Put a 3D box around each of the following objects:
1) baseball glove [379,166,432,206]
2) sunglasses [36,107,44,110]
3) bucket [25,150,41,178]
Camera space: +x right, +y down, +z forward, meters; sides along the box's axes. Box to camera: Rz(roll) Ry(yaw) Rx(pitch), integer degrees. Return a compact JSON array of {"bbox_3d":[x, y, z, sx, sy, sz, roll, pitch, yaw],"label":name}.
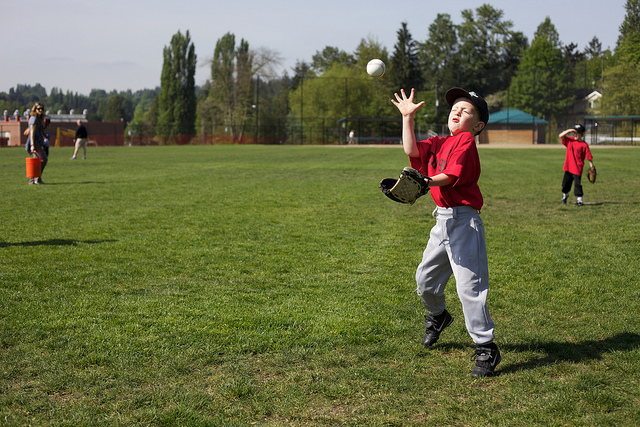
[{"bbox_3d":[1.232,-0.392,11.498,0.727,0.551,0.322,3,12,7],"label":"baseball glove"},{"bbox_3d":[-7.396,-2.774,21.033,0.086,0.037,0.247,5,13,16],"label":"sunglasses"},{"bbox_3d":[-7.729,-1.249,21.521,0.362,0.531,0.324,-3,12,-22],"label":"bucket"}]
